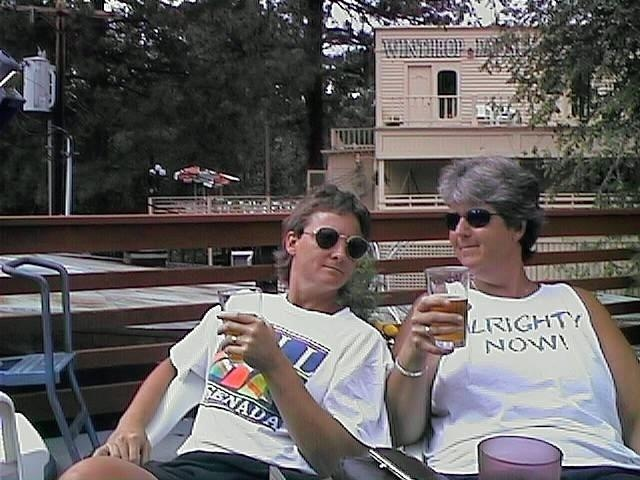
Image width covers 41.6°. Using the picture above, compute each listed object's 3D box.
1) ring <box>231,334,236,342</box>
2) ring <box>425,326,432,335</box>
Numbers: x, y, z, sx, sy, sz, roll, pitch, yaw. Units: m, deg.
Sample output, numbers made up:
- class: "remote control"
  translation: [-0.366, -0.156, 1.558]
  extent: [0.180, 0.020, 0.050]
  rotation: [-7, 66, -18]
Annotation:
- class: "ring"
  translation: [-0.410, 0.474, 4.013]
  extent: [0.016, 0.031, 0.025]
  rotation: [2, 2, -14]
- class: "ring"
  translation: [0.512, 0.420, 3.967]
  extent: [0.034, 0.029, 0.009]
  rotation: [27, 13, 39]
